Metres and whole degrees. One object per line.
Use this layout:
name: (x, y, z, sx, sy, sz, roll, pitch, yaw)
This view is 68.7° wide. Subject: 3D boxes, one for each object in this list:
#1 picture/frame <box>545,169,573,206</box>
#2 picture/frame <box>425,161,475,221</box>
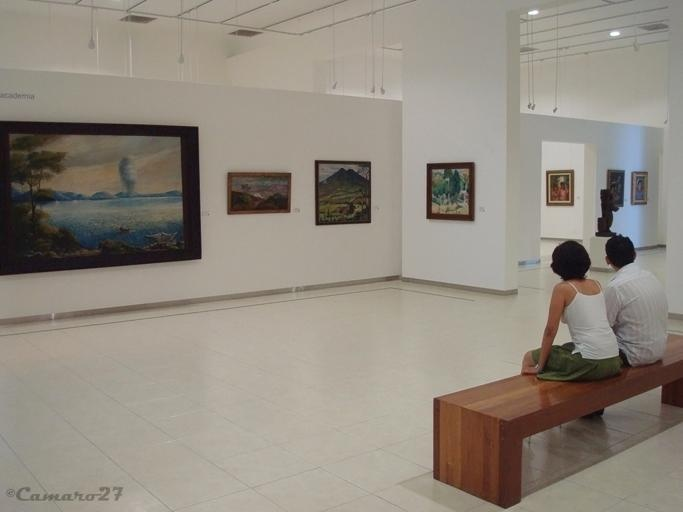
picture/frame: (12.258, -3.876, 28.036, 0.170, 2.412, 1.776, -6, 9, -41)
picture/frame: (3.463, -2.064, 15.679, 1.634, 2.073, 0.104, 6, 6, 44)
